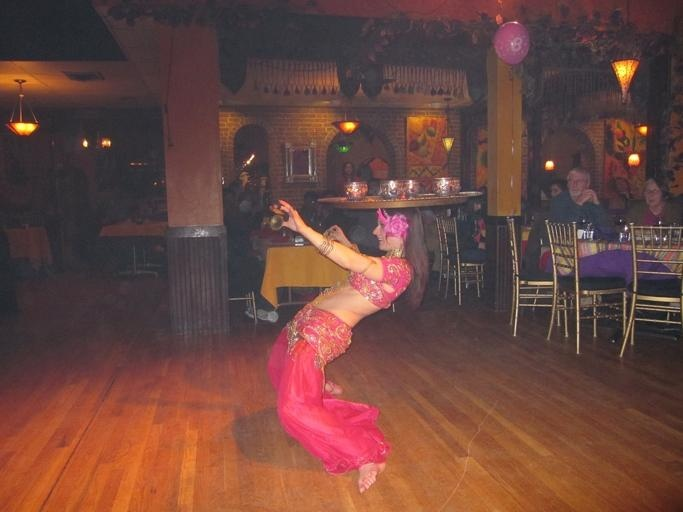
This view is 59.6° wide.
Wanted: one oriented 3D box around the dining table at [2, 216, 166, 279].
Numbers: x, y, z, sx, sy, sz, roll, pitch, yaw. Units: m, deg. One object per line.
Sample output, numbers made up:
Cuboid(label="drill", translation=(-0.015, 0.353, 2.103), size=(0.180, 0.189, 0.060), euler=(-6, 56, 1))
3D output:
Cuboid(label="dining table", translation=(-4.301, -0.143, 10.377), size=(2.361, 0.955, 1.426), euler=(-3, 5, -20))

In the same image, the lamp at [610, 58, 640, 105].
Cuboid(label="lamp", translation=(3.266, -2.029, 6.863), size=(0.257, 0.472, 0.840), euler=(2, 6, 26))

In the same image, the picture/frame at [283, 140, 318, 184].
Cuboid(label="picture/frame", translation=(-0.890, -1.998, 12.352), size=(0.771, 0.967, 0.175), euler=(-1, 8, -7))

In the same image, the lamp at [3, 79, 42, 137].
Cuboid(label="lamp", translation=(-5.892, -2.741, 10.921), size=(0.649, 1.201, 0.667), euler=(-6, 12, -44))

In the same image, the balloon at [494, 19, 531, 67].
Cuboid(label="balloon", translation=(1.841, -2.302, 6.452), size=(0.385, 0.506, 0.402), euler=(4, 8, 6))

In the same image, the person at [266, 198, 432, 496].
Cuboid(label="person", translation=(-0.003, 0.569, 4.332), size=(1.049, 1.946, 0.925), euler=(-1, 6, -8))

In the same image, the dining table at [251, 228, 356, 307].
Cuboid(label="dining table", translation=(-0.442, 0.103, 6.118), size=(0.855, 0.501, 0.773), euler=(1, 1, -4))
